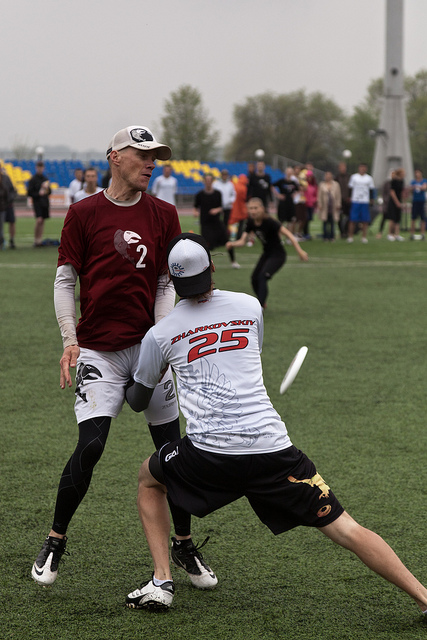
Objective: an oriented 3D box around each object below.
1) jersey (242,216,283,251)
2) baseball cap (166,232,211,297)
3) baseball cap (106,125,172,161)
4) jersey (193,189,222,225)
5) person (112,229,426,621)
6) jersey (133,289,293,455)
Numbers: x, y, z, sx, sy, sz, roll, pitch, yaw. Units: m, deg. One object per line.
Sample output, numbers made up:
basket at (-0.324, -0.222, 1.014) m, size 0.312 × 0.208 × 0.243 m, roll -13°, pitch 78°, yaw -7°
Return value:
jersey at (0.540, -0.933, 8.004) m, size 0.389 × 0.384 × 0.323 m, roll 0°, pitch 12°, yaw 5°
baseball cap at (-0.076, -0.192, 2.339) m, size 0.147 × 0.223 × 0.091 m, roll -13°, pitch -37°, yaw 0°
baseball cap at (-0.235, -0.637, 2.661) m, size 0.239 × 0.115 × 0.279 m, roll -6°, pitch 12°, yaw -22°
jersey at (-0.078, -1.923, 12.687) m, size 0.440 × 0.580 × 0.465 m, roll -2°, pitch 12°, yaw -2°
person at (0.400, 0.318, 3.015) m, size 0.963 × 1.528 × 1.530 m, roll -8°, pitch 13°, yaw -42°
jersey at (0.008, 0.165, 2.286) m, size 0.450 × 0.501 × 0.190 m, roll -6°, pitch 10°, yaw 17°
